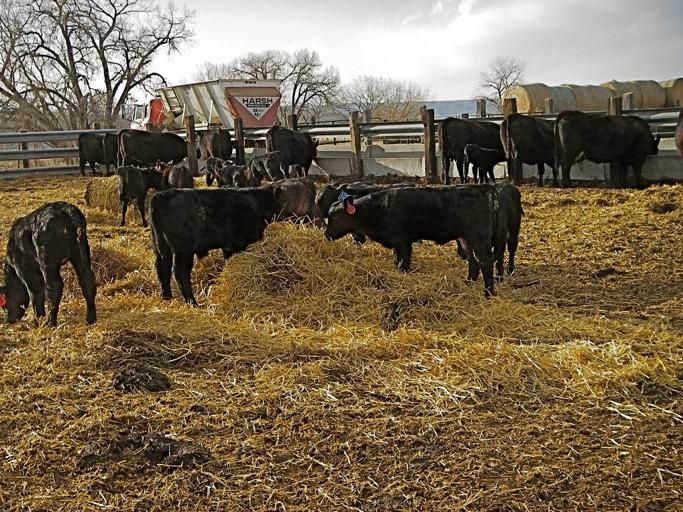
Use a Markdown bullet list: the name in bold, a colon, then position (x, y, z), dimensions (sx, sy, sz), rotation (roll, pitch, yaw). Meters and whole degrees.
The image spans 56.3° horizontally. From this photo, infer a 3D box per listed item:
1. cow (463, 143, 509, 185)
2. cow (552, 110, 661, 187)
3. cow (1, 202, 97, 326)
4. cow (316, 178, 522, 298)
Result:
- **cow**: position (3.034, -1.972, 13.584), dimensions (0.767, 0.858, 1.000), rotation (8, 17, 34)
- **cow**: position (5.200, -2.141, 12.702), dimensions (1.851, 1.462, 0.809), rotation (3, 15, 21)
- **cow**: position (-3.083, 0.115, 6.510), dimensions (1.333, 1.304, 0.474), rotation (2, 14, 18)
- **cow**: position (0.888, -0.269, 7.310), dimensions (1.828, 1.155, 0.504), rotation (6, 16, 29)
